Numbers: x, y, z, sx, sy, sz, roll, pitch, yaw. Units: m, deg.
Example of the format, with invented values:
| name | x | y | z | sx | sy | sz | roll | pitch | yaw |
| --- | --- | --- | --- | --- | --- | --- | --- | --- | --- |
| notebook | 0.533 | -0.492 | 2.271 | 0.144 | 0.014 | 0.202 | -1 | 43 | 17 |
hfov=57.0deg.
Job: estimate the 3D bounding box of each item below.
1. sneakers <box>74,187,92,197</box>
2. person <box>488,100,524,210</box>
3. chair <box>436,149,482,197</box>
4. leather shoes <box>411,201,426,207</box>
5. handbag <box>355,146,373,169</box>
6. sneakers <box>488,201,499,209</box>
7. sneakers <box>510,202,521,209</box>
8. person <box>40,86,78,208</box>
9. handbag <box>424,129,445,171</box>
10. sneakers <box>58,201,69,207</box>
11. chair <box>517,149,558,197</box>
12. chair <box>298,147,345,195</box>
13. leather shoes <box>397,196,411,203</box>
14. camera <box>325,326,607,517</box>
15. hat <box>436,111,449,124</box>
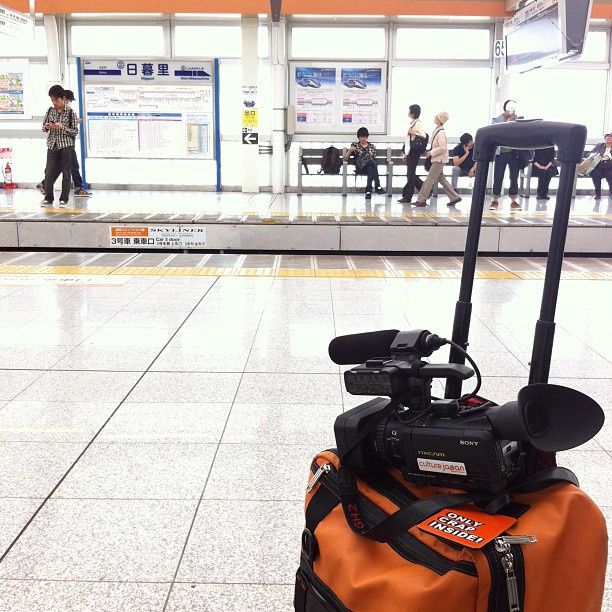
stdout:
| name | x | y | z | sx | sy | sz | roll | pitch | yaw |
| --- | --- | --- | --- | --- | --- | --- | --- | --- | --- |
| sneakers | -4.288 | -2.198 | 11.083 | 0.530 | 0.196 | 0.162 | 1 | 14 | 3 |
| person | 3.296 | -2.431 | 9.180 | 0.589 | 1.639 | 0.564 | -2 | 13 | 12 |
| chair | 2.736 | -2.349 | 9.580 | 0.671 | 0.961 | 0.665 | 13 | 17 | 40 |
| leather shoes | 1.939 | -1.712 | 9.648 | 0.278 | 0.096 | 0.095 | 3 | 1 | 7 |
| handbag | 1.144 | -2.841 | 10.929 | 0.368 | 0.389 | 0.152 | 2 | 10 | 6 |
| sneakers | 3.174 | -1.666 | 9.511 | 0.114 | 0.120 | 0.305 | 1 | 9 | 23 |
| sneakers | 3.620 | -1.677 | 9.634 | 0.250 | 0.132 | 0.097 | -3 | 13 | -15 |
| person | -3.970 | -2.507 | 9.040 | 0.560 | 1.833 | 0.664 | -12 | 20 | -39 |
| handbag | 2.203 | -2.484 | 9.479 | 0.447 | 0.370 | 0.299 | -1 | 1 | 7 |
| sneakers | -4.009 | -1.645 | 9.296 | 0.099 | 0.087 | 0.259 | 0 | 3 | -6 |
| chair | 4.649 | -2.705 | 11.016 | 0.505 | 1.222 | 0.640 | 0 | 21 | 16 |
| chair | 0.345 | -2.833 | 11.973 | 1.334 | 1.066 | 0.594 | 0 | 21 | 1 |
| leather shoes | 1.768 | -1.884 | 10.178 | 0.082 | 0.105 | 0.261 | -12 | 24 | -42 |
| camera | 0.278 | 0.196 | 1.176 | 0.616 | 0.300 | 0.275 | 3 | 6 | 40 |
| hat | 2.070 | -2.814 | 8.533 | 0.199 | 0.143 | 0.193 | -9 | 13 | 15 |
